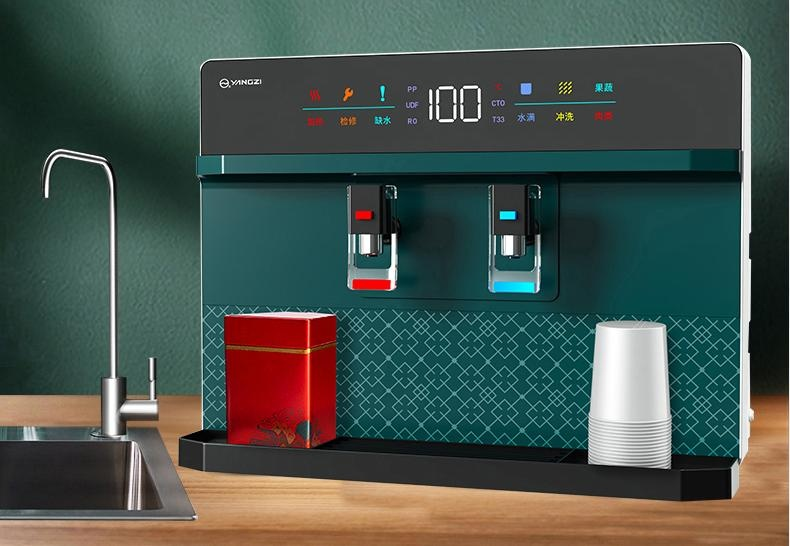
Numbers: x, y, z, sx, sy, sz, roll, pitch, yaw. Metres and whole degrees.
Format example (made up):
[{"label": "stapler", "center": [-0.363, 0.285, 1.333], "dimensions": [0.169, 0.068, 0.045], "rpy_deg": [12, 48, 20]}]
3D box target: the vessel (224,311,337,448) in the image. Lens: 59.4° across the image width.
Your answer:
[{"label": "vessel", "center": [-0.173, 0.174, 1.210], "dimensions": [0.213, 0.212, 0.193], "rpy_deg": [-1, -1, 12]}]
